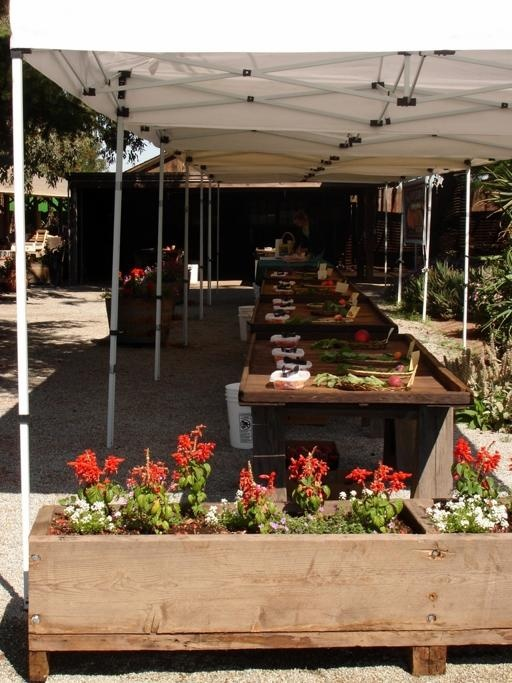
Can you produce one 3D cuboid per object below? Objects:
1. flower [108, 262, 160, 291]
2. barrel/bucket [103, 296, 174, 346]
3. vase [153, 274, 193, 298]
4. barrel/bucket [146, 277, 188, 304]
[{"bbox_3d":[-2.041,-1.098,10.769,0.877,0.451,1.099,-1,11,1],"label":"flower"},{"bbox_3d":[-1.955,-0.381,10.288,1.028,0.679,0.810,1,6,-1],"label":"barrel/bucket"},{"bbox_3d":[-1.791,-1.165,13.014,0.867,0.606,0.892,-1,2,-16],"label":"vase"},{"bbox_3d":[-1.702,-1.065,11.477,0.827,0.532,0.879,0,1,0],"label":"barrel/bucket"}]
